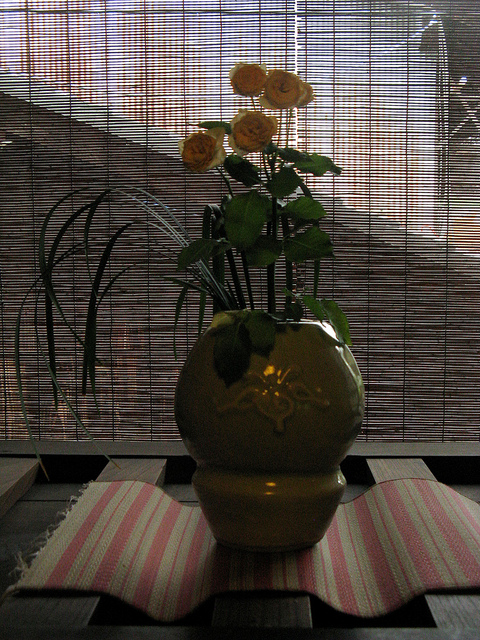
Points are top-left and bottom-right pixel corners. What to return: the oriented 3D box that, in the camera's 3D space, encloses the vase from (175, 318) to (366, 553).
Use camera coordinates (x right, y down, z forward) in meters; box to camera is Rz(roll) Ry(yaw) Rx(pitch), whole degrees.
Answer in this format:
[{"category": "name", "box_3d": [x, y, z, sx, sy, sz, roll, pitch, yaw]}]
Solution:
[{"category": "vase", "box_3d": [0.055, 0.188, 0.957, 0.357, 0.342, 0.321, -6, -17, 19]}]
